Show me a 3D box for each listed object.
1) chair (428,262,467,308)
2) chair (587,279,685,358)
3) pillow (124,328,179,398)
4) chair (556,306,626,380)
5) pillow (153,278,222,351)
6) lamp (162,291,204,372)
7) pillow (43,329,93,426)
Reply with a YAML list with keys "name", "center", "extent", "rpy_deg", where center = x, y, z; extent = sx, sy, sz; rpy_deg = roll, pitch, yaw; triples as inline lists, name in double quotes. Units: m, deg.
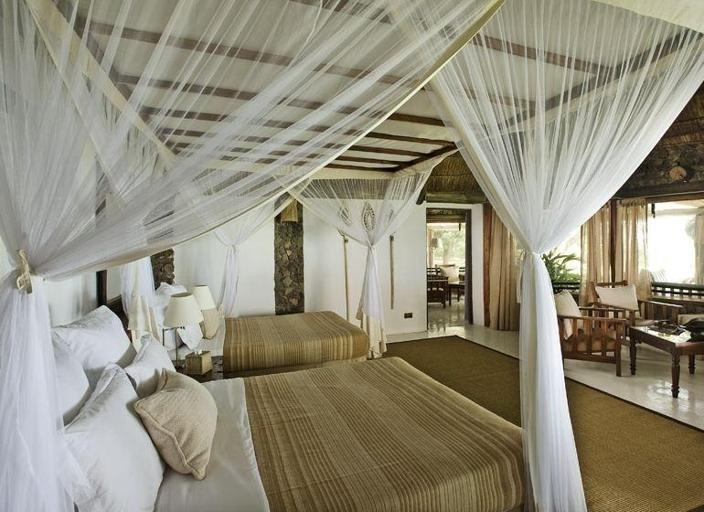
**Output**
- name: "chair"
  center: [1.954, 0.562, 10.008]
  extent: [0.829, 1.297, 0.902]
  rpy_deg: [0, -5, -6]
- name: "chair"
  center: [3.150, 0.705, 5.490]
  extent: [0.570, 0.885, 0.775]
  rpy_deg: [-2, -2, -7]
- name: "pillow"
  center: [-1.145, 0.622, 2.741]
  extent: [0.185, 0.206, 0.435]
  rpy_deg: [20, 8, -7]
- name: "chair"
  center: [2.359, 0.790, 4.936]
  extent: [0.530, 0.519, 0.463]
  rpy_deg: [-10, -15, 28]
- name: "pillow"
  center: [-1.414, 0.629, 4.306]
  extent: [0.175, 0.637, 0.654]
  rpy_deg: [-6, 8, 0]
- name: "lamp"
  center: [-1.252, 0.526, 3.528]
  extent: [0.318, 0.522, 0.351]
  rpy_deg: [10, 10, 13]
- name: "pillow"
  center: [-1.308, 0.570, 2.272]
  extent: [0.111, 0.339, 0.322]
  rpy_deg: [-12, -23, 13]
